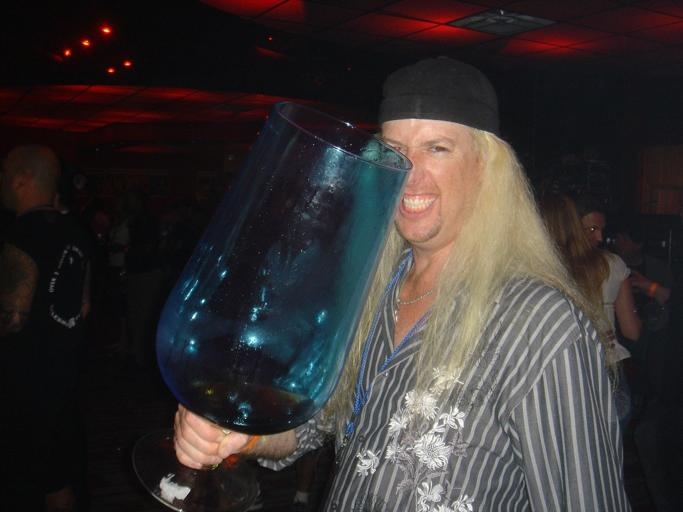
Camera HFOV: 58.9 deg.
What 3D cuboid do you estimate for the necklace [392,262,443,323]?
[{"bbox_3d":[0.232,0.136,1.963,0.161,0.149,0.061,27,-17,50],"label":"necklace"}]
